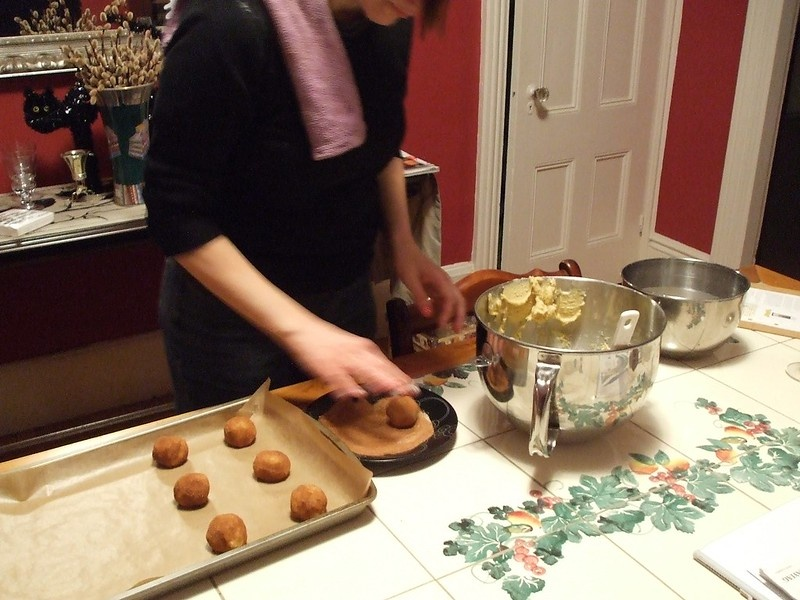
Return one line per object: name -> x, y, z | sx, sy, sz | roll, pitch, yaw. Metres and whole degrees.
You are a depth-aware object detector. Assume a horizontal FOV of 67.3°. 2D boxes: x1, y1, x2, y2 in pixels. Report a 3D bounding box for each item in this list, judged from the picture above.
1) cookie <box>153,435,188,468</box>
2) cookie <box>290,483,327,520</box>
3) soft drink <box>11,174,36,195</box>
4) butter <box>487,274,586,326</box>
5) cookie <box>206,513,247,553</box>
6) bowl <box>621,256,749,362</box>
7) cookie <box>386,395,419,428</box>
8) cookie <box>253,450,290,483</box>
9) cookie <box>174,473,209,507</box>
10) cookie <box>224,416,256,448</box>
cookie -> -0.368, 0.244, 0.964 | 0.048, 0.041, 0.049 | -17, 28, -22
cookie -> -0.134, 0.291, 0.860 | 0.046, 0.038, 0.049 | -16, 31, -27
soft drink -> -1.221, -0.375, 1.955 | 0.066, 0.054, 0.062 | 5, 14, 22
butter -> 0.257, 0.006, 1.125 | 0.138, 0.053, 0.100 | 5, 41, 5
cookie -> -0.234, 0.316, 0.816 | 0.053, 0.042, 0.051 | -2, 0, 0
bowl -> 0.567, -0.013, 1.264 | 0.230, 0.146, 0.233 | -3, 27, 2
cookie -> 0.001, 0.185, 1.012 | 0.054, 0.056, 0.029 | 18, 4, -13
cookie -> -0.199, 0.258, 0.930 | 0.047, 0.030, 0.049 | 4, 5, 3
cookie -> -0.307, 0.283, 0.888 | 0.046, 0.041, 0.049 | 4, 22, 4
cookie -> -0.272, 0.217, 1.027 | 0.046, 0.035, 0.048 | 4, 18, 9
